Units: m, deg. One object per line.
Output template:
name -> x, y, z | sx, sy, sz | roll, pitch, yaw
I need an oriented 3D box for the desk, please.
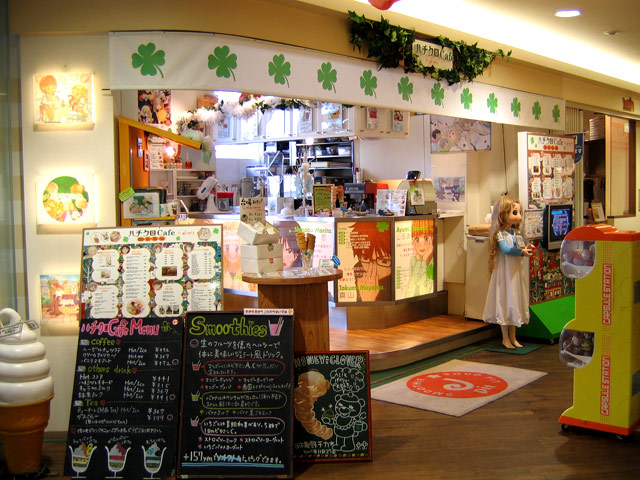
desk -> -0.226, 0.479, 3.785 | 0.651, 0.600, 0.611 | -3, 4, -30

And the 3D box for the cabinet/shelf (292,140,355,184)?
cabinet/shelf -> 0.119, -1.635, 10.492 | 1.112, 1.123, 0.338 | -1, -2, 31

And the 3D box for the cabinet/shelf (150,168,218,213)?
cabinet/shelf -> -2.340, -0.822, 8.470 | 0.957, 0.932, 0.272 | -4, 5, -42

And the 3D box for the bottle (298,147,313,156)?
bottle -> -0.311, -1.955, 11.235 | 0.228, 0.248, 0.436 | 4, 3, -7

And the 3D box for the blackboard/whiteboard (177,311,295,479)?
blackboard/whiteboard -> -0.585, 1.130, 3.407 | 1.019, 1.470, 0.158 | 3, -18, -5

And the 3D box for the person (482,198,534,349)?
person -> 2.396, 0.299, 6.273 | 0.574, 1.631, 0.373 | 0, 3, 4

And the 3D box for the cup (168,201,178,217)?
cup -> -1.545, -0.317, 5.153 | 0.107, 0.157, 0.149 | -5, 9, -12

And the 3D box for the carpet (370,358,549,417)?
carpet -> 1.423, 1.534, 5.209 | 1.865, 0.054, 1.029 | -3, 5, -39

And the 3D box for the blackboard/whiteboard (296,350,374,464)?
blackboard/whiteboard -> 0.085, 1.277, 3.675 | 0.725, 0.922, 0.064 | -2, -8, 0
